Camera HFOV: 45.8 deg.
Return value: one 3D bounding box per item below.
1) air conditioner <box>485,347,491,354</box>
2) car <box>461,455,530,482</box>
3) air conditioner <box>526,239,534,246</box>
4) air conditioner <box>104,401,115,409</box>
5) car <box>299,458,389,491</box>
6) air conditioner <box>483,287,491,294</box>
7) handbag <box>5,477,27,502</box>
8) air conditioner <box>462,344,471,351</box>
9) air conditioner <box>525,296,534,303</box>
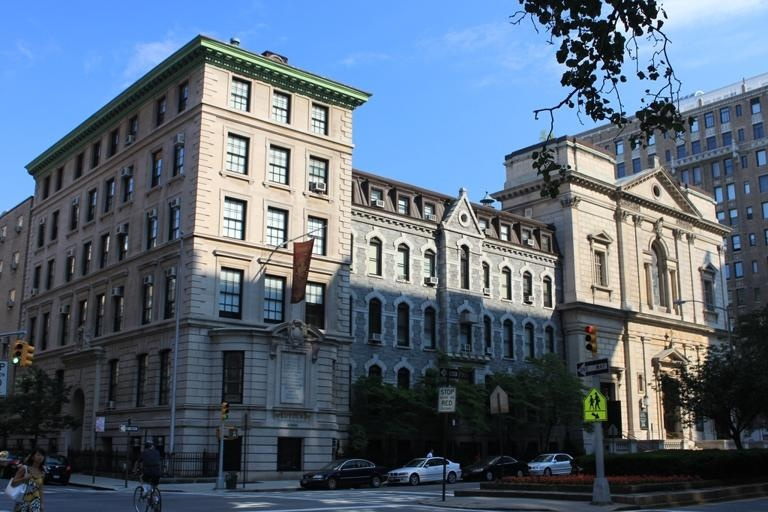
[{"bbox_3d":[8.649,7.867,75.297,0.821,0.516,0.432,11,-17,-44],"label":"air conditioner"},{"bbox_3d":[7.638,14.634,62.541,3.511,1.737,3.217,-12,-22,23],"label":"car"},{"bbox_3d":[13.101,-1.165,81.511,0.566,0.432,0.825,-5,-8,41],"label":"air conditioner"},{"bbox_3d":[-19.644,10.770,65.542,0.418,0.761,0.810,8,-23,-26],"label":"air conditioner"},{"bbox_3d":[-2.895,14.012,57.999,4.974,1.461,1.985,14,-26,-35],"label":"car"},{"bbox_3d":[8.677,2.997,76.892,0.747,0.452,0.410,12,-22,-35],"label":"air conditioner"},{"bbox_3d":[-14.242,9.122,35.290,0.683,0.714,0.563,6,-23,-22],"label":"handbag"},{"bbox_3d":[6.678,7.492,73.949,0.685,0.452,0.642,0,-7,11],"label":"air conditioner"},{"bbox_3d":[12.732,3.877,80.006,0.866,0.606,0.297,8,-24,-26],"label":"air conditioner"}]
